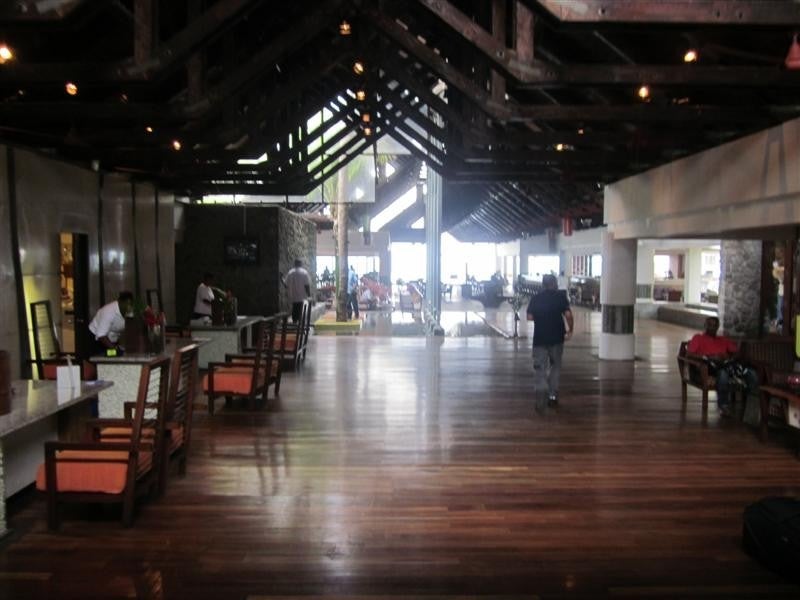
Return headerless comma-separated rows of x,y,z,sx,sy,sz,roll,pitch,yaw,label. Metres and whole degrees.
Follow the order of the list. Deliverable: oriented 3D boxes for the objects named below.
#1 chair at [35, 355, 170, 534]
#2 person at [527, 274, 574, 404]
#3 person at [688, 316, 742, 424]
-2.512,1.149,6.001,0.995,1.326,1.106,-2,7,-14,chair
1.956,0.526,9.035,0.557,1.756,0.880,2,7,14,person
4.005,0.807,8.649,0.546,1.414,0.735,2,-17,6,person
